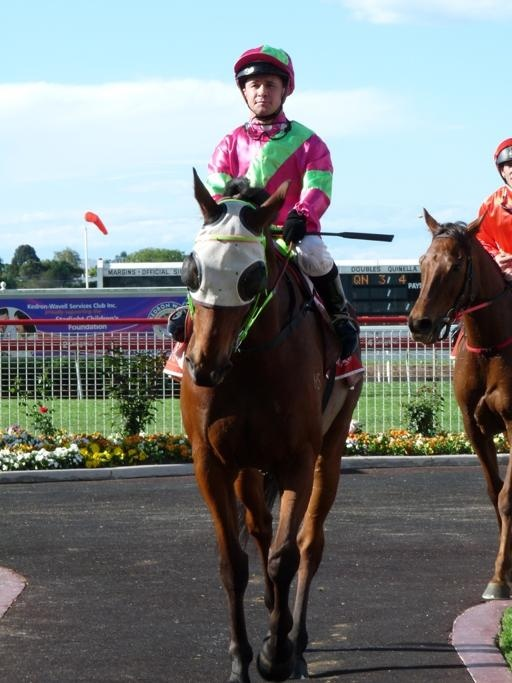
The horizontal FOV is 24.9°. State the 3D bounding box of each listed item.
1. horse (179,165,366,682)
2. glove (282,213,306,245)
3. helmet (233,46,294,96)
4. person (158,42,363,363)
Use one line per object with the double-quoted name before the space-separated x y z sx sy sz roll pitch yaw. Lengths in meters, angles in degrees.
"horse" 0.039 0.395 5.282 0.620 2.270 1.535 -1 2 7
"glove" 0.202 -0.558 5.580 0.053 0.146 0.105 25 -19 -30
"helmet" 0.047 -1.417 6.048 0.296 0.233 0.243 -2 2 -3
"person" 0.119 -0.697 5.971 0.895 1.744 0.740 -4 -2 34
